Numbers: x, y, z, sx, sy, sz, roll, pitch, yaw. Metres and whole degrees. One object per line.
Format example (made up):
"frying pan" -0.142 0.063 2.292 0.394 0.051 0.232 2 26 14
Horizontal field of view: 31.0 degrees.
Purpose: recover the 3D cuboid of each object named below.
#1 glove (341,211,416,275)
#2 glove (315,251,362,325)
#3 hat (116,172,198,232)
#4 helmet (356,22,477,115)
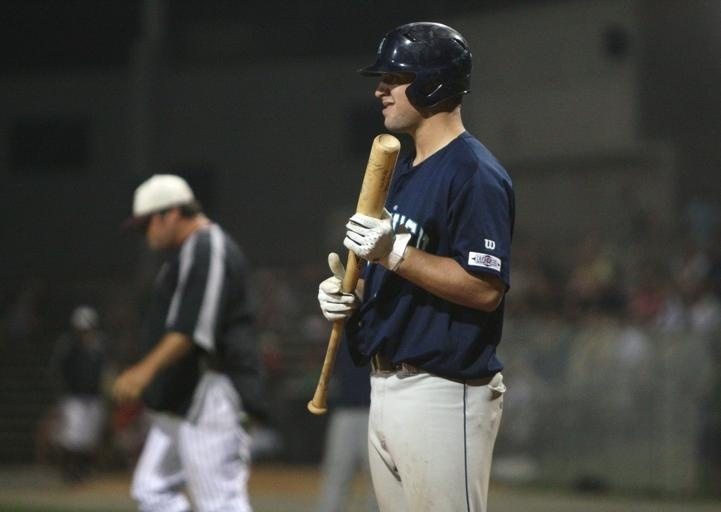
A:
"glove" 0.108 -0.090 7.537 0.377 0.339 0.190 3 -3 2
"glove" -0.100 0.187 7.810 0.274 0.405 0.178 -7 -16 39
"hat" -1.362 -0.389 8.903 0.439 0.275 0.325 -12 2 6
"helmet" 0.387 -1.119 7.633 0.564 0.492 0.437 1 2 -1
